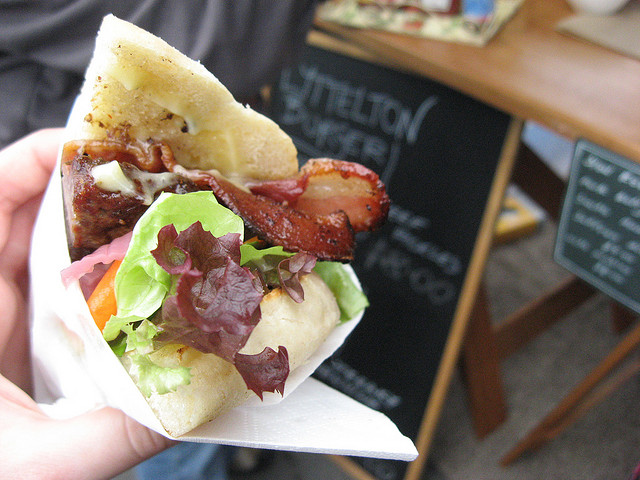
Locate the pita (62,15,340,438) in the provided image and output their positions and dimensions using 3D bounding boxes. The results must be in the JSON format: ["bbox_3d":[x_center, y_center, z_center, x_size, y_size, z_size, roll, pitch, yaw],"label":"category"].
[{"bbox_3d":[-0.363,-0.138,2.019,1.043,1.066,0.782,-2,28,-15],"label":"pita"}]

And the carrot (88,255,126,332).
[{"bbox_3d":[-0.604,0.156,1.675,0.061,0.206,0.059,29,7,-8],"label":"carrot"}]

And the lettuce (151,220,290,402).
[{"bbox_3d":[-0.278,0.244,1.655,0.366,0.469,0.350,-1,48,-11],"label":"lettuce"}]
